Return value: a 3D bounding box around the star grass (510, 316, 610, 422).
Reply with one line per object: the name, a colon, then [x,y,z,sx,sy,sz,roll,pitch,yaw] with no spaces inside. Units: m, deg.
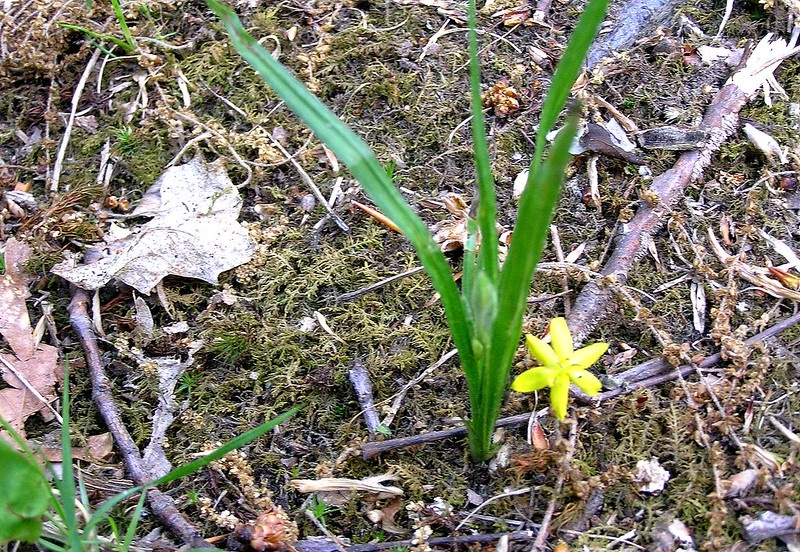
star grass: [0.413,0.235,1.781,0.343,0.140,0.235,-10,91,-1]
